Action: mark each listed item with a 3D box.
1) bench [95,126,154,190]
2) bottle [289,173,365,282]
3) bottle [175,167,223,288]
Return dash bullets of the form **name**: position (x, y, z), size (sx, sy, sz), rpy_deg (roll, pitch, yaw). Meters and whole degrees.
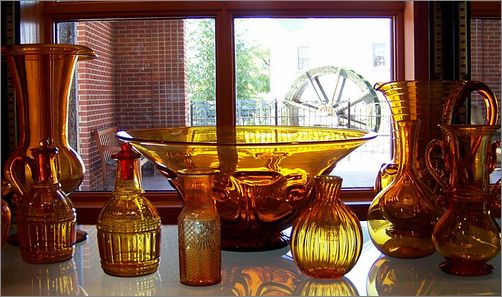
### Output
- **bench**: position (-0.919, 0.030, 3.519), size (0.227, 0.381, 0.581), rpy_deg (-2, 6, -2)
- **bottle**: position (0.206, 0.223, 1.352), size (0.194, 0.270, 0.082), rpy_deg (0, 15, 3)
- **bottle**: position (-0.147, 0.225, 1.343), size (0.120, 0.314, 0.088), rpy_deg (-4, 15, -9)
